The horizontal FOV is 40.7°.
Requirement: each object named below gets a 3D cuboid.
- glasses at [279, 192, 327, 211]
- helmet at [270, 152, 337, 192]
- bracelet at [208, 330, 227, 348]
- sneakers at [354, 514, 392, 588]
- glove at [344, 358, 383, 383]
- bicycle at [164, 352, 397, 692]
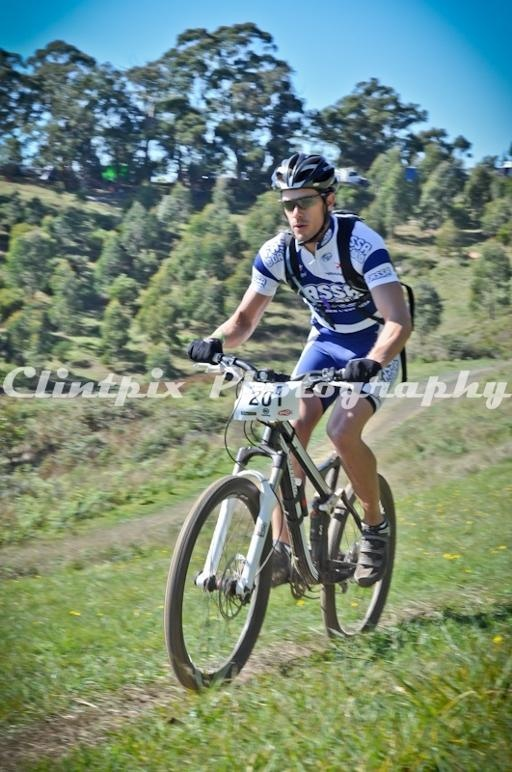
[{"bbox_3d":[0.224,-0.847,3.196,0.206,0.079,0.149,-7,-2,7],"label":"glasses"},{"bbox_3d":[0.227,-0.987,3.212,0.298,0.172,0.267,-7,-2,5],"label":"helmet"},{"bbox_3d":[-0.181,-0.236,3.276,0.065,0.048,0.096,-1,-18,-8],"label":"bracelet"},{"bbox_3d":[0.607,0.816,3.528,0.139,0.397,0.176,0,-40,23],"label":"sneakers"},{"bbox_3d":[0.406,-0.057,2.610,0.124,0.089,0.140,-8,-2,29],"label":"glove"},{"bbox_3d":[-0.142,0.541,3.165,0.878,0.988,1.705,-2,-4,29],"label":"bicycle"}]
